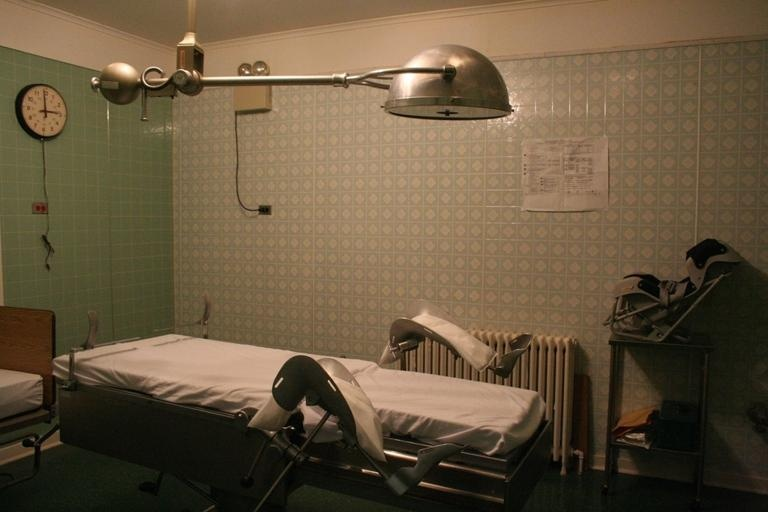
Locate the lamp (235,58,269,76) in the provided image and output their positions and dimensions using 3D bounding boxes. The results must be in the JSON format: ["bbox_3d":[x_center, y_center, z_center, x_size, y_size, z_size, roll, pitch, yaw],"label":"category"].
[{"bbox_3d":[-1.277,-1.845,6.474,0.326,0.155,0.265,1,-7,-1],"label":"lamp"}]

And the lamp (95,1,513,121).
[{"bbox_3d":[-0.544,-1.002,4.372,2.861,1.014,0.993,1,4,6],"label":"lamp"}]

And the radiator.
[{"bbox_3d":[0.861,1.101,4.814,1.273,1.027,0.222,3,-3,14],"label":"radiator"}]

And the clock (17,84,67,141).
[{"bbox_3d":[-3.178,-1.329,6.118,0.109,0.676,0.563,-1,1,33],"label":"clock"}]
